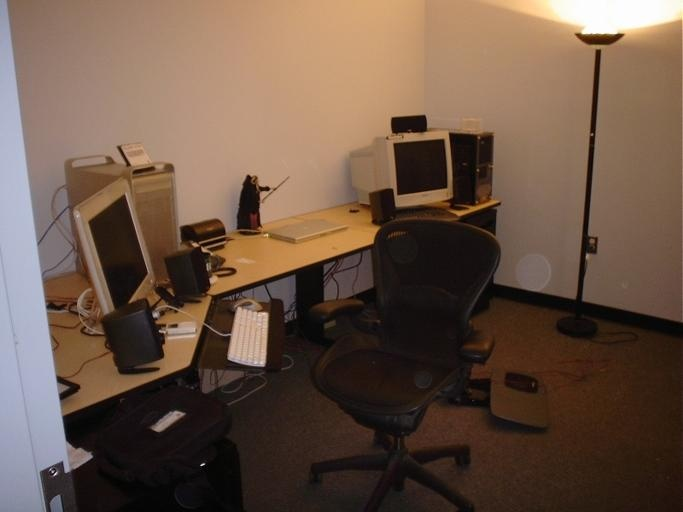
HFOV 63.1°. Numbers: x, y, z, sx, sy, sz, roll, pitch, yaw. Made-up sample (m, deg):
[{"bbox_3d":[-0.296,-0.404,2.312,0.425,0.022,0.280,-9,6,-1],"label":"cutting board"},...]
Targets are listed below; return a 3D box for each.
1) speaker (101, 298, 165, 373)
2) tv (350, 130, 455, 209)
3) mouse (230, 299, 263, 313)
[{"bbox_3d":[-0.733,0.287,1.958,0.170,0.213,0.160,-13,21,-32],"label":"speaker"},{"bbox_3d":[0.394,-0.624,3.852,0.525,0.472,0.600,-14,18,-40],"label":"tv"},{"bbox_3d":[-0.413,0.213,2.456,0.079,0.021,0.059,9,15,19],"label":"mouse"}]
